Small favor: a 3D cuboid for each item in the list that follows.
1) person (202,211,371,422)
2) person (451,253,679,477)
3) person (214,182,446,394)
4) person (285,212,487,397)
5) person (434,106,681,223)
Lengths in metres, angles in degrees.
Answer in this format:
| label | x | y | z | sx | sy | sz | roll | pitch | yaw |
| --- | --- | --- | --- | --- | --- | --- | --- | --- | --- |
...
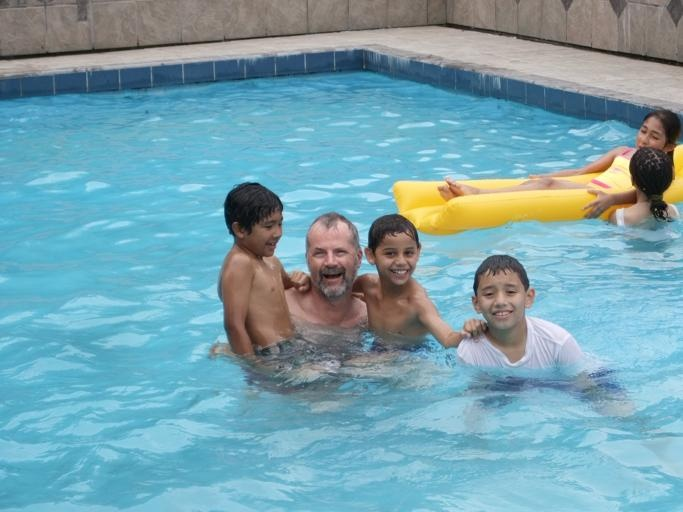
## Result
| label | x | y | z | sx | sy | sz | roll | pitch | yaw |
| --- | --- | --- | --- | --- | --- | --- | --- | --- | --- |
| person | -0.266 | 0.234 | 3.545 | 0.929 | 1.072 | 0.637 | 4 | 13 | 16 |
| person | 1.026 | 0.379 | 3.270 | 0.930 | 0.811 | 0.455 | 3 | 17 | 34 |
| person | -0.260 | 0.114 | 3.484 | 0.852 | 0.961 | 0.546 | -8 | 14 | -11 |
| person | 0.284 | 0.246 | 3.564 | 0.569 | 0.898 | 1.284 | -15 | 20 | -20 |
| person | 1.570 | -0.735 | 5.672 | 2.286 | 0.667 | 0.869 | -1 | 14 | -2 |
